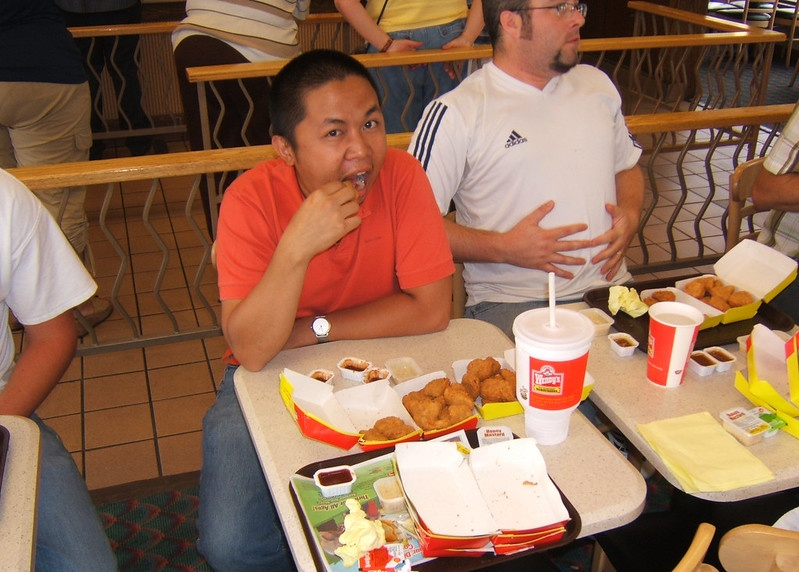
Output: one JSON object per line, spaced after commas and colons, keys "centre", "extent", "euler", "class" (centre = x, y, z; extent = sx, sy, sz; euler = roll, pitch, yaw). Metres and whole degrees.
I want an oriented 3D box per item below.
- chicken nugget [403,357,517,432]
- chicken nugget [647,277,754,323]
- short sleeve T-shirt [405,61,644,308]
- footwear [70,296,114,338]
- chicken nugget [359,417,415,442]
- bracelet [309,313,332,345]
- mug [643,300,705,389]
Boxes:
{"centre": [0.166, 0.287, 1.531], "extent": [0.248, 0.071, 0.157], "euler": [-26, 37, -4], "class": "chicken nugget"}
{"centre": [1.009, 0.049, 1.901], "extent": [0.203, 0.047, 0.204], "euler": [-9, 33, -14], "class": "chicken nugget"}
{"centre": [0.491, -0.370, 2.270], "extent": [0.986, 0.832, 0.527], "euler": [-16, 28, -19], "class": "short sleeve T-shirt"}
{"centre": [-2.006, 0.181, 3.763], "extent": [0.285, 0.123, 0.114], "euler": [6, 20, 41], "class": "footwear"}
{"centre": [-0.029, 0.359, 1.447], "extent": [0.062, 0.023, 0.087], "euler": [10, 25, 33], "class": "chicken nugget"}
{"centre": [-0.248, 0.136, 1.837], "extent": [0.060, 0.076, 0.077], "euler": [-5, -6, -3], "class": "bracelet"}
{"centre": [0.776, 0.175, 1.640], "extent": [0.160, 0.204, 0.163], "euler": [7, 26, 6], "class": "mug"}
